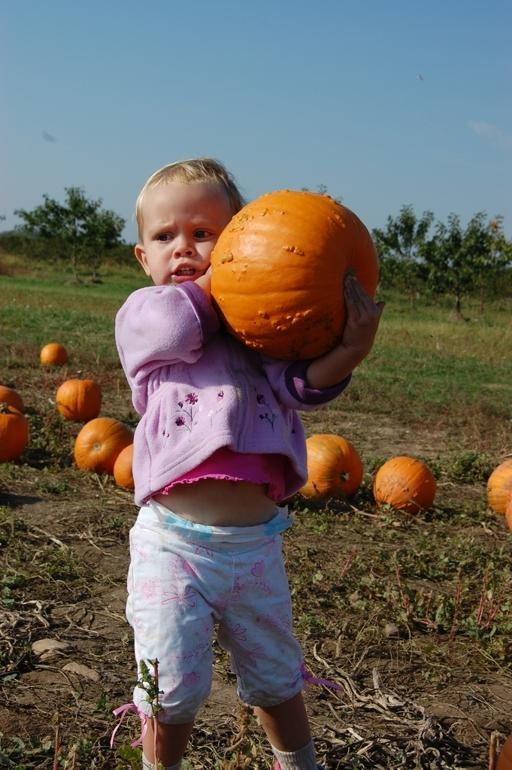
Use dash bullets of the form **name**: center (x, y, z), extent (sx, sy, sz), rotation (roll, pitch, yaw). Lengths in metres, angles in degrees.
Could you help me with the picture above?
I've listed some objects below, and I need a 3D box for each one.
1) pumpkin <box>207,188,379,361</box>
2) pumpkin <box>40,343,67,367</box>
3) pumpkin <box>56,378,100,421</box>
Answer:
- **pumpkin**: center (0.099, -0.279, 1.987), extent (0.400, 0.383, 0.399), rotation (24, 42, 27)
- **pumpkin**: center (-3.037, -0.446, 11.313), extent (0.390, 0.303, 0.491), rotation (4, 10, -16)
- **pumpkin**: center (-1.784, 0.170, 7.830), extent (0.466, 0.475, 0.429), rotation (2, -7, 16)
